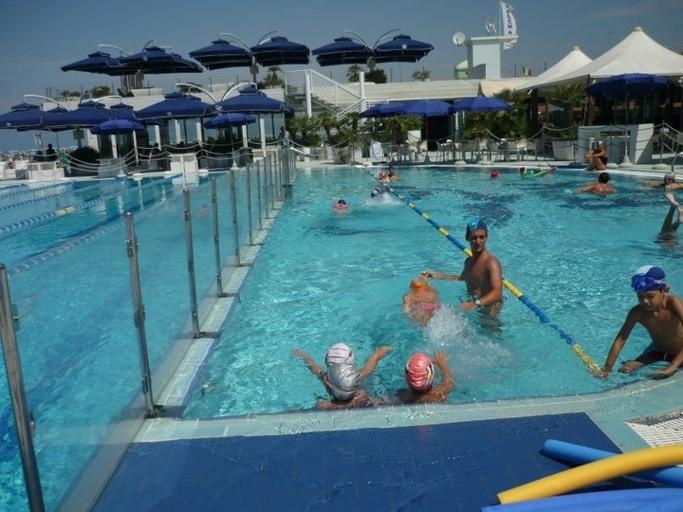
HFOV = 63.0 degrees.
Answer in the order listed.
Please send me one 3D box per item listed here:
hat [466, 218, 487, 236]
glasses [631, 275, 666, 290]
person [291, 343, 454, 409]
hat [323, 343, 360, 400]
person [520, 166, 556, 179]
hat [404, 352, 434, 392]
[{"bbox_3d":[1.441,-0.312,5.941,0.280,0.165,0.250,-2,5,6],"label":"hat"},{"bbox_3d":[2.467,0.220,4.464,0.241,0.160,0.167,3,15,27],"label":"glasses"},{"bbox_3d":[0.424,1.062,4.689,0.884,0.240,0.722,-8,-8,26],"label":"person"},{"bbox_3d":[0.005,0.926,4.532,0.314,0.194,0.377,-4,52,-2],"label":"hat"},{"bbox_3d":[6.274,-2.637,17.742,1.022,0.264,0.638,4,18,16],"label":"person"},{"bbox_3d":[0.639,0.959,4.545,0.223,0.305,0.245,-3,14,4],"label":"hat"}]
